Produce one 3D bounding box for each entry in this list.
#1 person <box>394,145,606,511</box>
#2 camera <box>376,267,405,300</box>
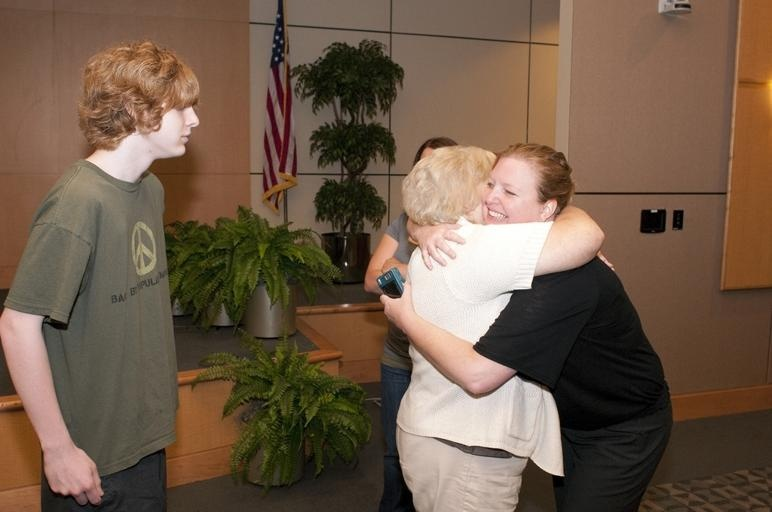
[{"bbox_3d":[0.432,0.328,2.544,0.754,1.598,0.359,1,9,1],"label":"person"},{"bbox_3d":[0.032,0.105,2.649,0.098,0.137,0.049,-40,-11,32],"label":"camera"}]
